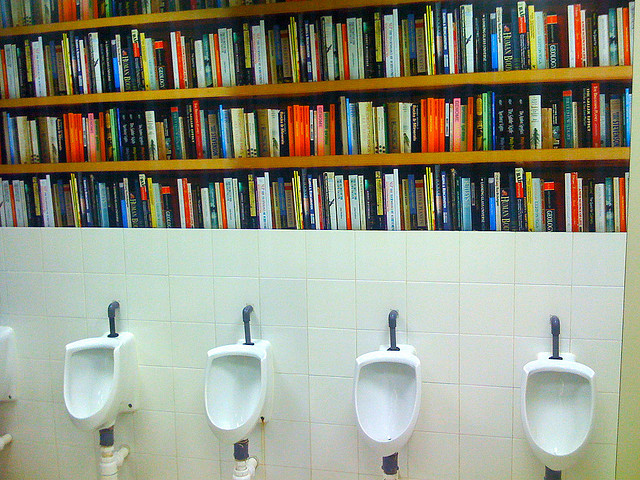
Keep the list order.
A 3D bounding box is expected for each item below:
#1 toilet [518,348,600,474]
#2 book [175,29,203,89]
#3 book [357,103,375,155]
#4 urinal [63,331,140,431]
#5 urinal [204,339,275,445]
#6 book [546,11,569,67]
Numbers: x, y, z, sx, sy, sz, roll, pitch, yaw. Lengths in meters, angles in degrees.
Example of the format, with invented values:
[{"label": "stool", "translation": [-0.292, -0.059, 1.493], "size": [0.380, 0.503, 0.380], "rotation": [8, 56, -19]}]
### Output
[{"label": "toilet", "translation": [1.202, 0.831, 3.080], "size": [0.387, 0.515, 0.704], "rotation": [1, -28, 18]}, {"label": "book", "translation": [-0.727, -0.993, 3.409], "size": [0.150, 0.032, 0.287], "rotation": [2, -77, 16]}, {"label": "book", "translation": [0.245, -0.588, 3.247], "size": [0.082, 0.245, 0.237], "rotation": [-3, -84, 4]}, {"label": "urinal", "translation": [-1.215, 0.768, 3.468], "size": [0.352, 0.361, 0.553], "rotation": [0, -80, -1]}, {"label": "urinal", "translation": [-0.420, 0.817, 3.311], "size": [0.346, 0.483, 0.474], "rotation": [2, -71, 16]}, {"label": "book", "translation": [1.171, -0.995, 3.052], "size": [0.083, 0.254, 0.240], "rotation": [-2, -86, 14]}]
